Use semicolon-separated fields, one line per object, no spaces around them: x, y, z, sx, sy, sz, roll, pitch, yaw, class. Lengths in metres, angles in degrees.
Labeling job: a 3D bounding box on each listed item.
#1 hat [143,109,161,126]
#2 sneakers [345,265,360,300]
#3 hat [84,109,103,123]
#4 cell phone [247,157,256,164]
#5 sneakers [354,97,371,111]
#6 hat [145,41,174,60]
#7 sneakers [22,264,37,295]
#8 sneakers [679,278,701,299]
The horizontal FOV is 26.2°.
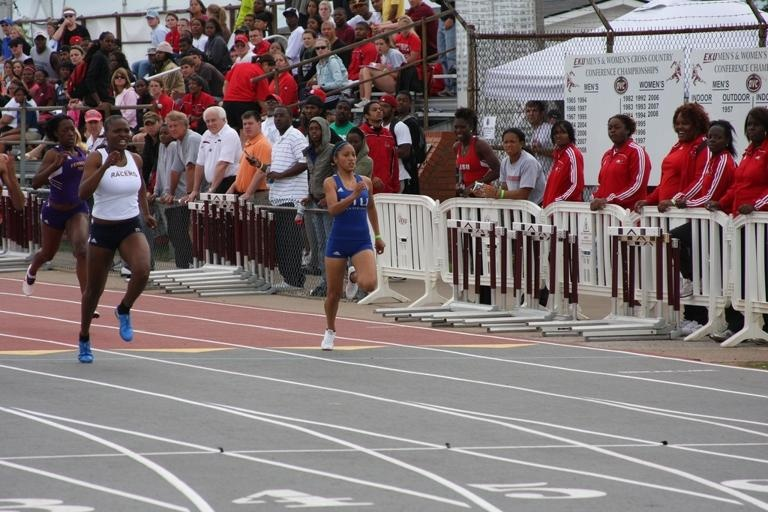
-3.907;-2.292;27.371;0.251;0.170;0.352;-2;-5;4;hat
-0.458;0.331;23.845;0.227;0.571;0.261;1;23;7;sneakers
-4.537;-2.157;25.382;0.307;0.205;0.406;-7;2;-4;hat
-2.082;-1.466;25.375;0.123;0.029;0.083;29;1;-13;cell phone
-0.422;-2.717;29.673;0.425;0.164;0.157;4;8;44;sneakers
-4.541;-3.991;32.184;0.687;0.308;0.454;-1;5;4;hat
-5.311;0.416;24.516;0.252;0.599;0.259;2;22;-18;sneakers
4.145;0.446;22.723;0.165;0.268;0.330;-1;4;-15;sneakers
